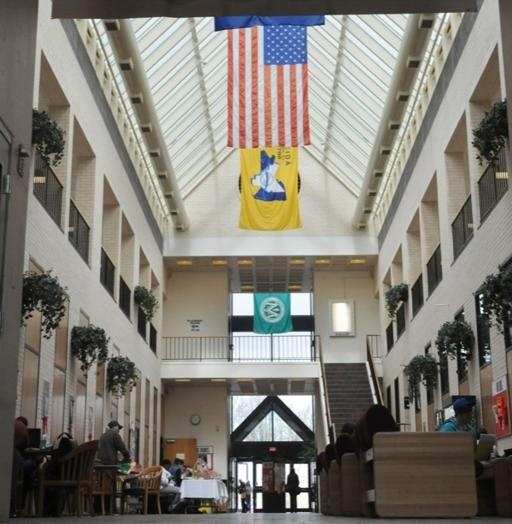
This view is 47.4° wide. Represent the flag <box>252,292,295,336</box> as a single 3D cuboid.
[{"bbox_3d":[0.613,1.887,21.187,1.404,0.151,2.022,0,-54,5],"label":"flag"}]

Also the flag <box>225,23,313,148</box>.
[{"bbox_3d":[0.288,-4.182,13.979,2.087,3.980,0.098,-1,4,-2],"label":"flag"}]

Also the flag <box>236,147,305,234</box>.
[{"bbox_3d":[0.361,-2.252,18.042,1.928,3.578,0.179,1,-37,1],"label":"flag"}]

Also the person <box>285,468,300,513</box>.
[{"bbox_3d":[1.310,8.147,20.862,0.452,1.438,1.191,-2,-22,2],"label":"person"}]

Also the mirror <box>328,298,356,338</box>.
[{"bbox_3d":[3.303,2.098,22.565,0.909,0.133,1.660,0,-56,10],"label":"mirror"}]
